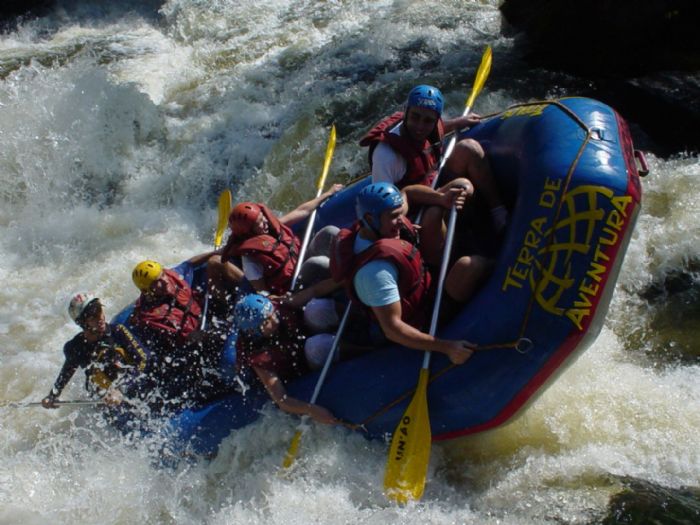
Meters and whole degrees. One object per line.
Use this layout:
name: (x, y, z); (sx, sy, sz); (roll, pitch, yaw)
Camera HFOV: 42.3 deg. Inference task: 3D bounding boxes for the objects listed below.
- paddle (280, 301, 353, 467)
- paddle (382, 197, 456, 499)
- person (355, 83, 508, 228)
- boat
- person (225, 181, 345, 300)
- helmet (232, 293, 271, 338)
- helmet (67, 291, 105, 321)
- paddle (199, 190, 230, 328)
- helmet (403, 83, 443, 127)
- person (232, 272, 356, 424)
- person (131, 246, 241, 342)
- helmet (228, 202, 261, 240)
paddle: (-0.296, 1.180, 8.375); (0.114, 0.088, 1.648); (25, 78, -12)
paddle: (0.708, 0.778, 8.061); (0.380, 0.214, 2.727); (12, 80, -1)
person: (0.793, -0.969, 8.802); (1.323, 1.033, 1.395); (-42, 46, -20)
boat: (0.674, 0.577, 8.396); (4.597, 1.414, 2.519); (-33, 56, 24)
person: (-0.630, -0.188, 9.047); (1.068, 0.445, 0.846); (24, 48, -29)
helmet: (-0.905, 0.477, 8.445); (0.391, 0.333, 0.301); (-22, 42, 33)
helmet: (-2.663, 0.417, 9.005); (0.259, 0.317, 0.233); (36, 46, -7)
paddle: (-1.456, -0.106, 9.699); (0.191, 0.101, 1.829); (8, 62, -2)
helmet: (0.694, -1.493, 8.653); (0.352, 0.461, 0.433); (13, 92, -1)
person: (-0.561, 0.729, 8.565); (1.171, 0.577, 1.610); (5, 54, -25)
person: (-1.688, 0.382, 9.044); (0.936, 0.396, 0.926); (-4, 61, 8)
helmet: (-1.035, -0.405, 8.985); (0.393, 0.303, 0.325); (7, 80, 24)
